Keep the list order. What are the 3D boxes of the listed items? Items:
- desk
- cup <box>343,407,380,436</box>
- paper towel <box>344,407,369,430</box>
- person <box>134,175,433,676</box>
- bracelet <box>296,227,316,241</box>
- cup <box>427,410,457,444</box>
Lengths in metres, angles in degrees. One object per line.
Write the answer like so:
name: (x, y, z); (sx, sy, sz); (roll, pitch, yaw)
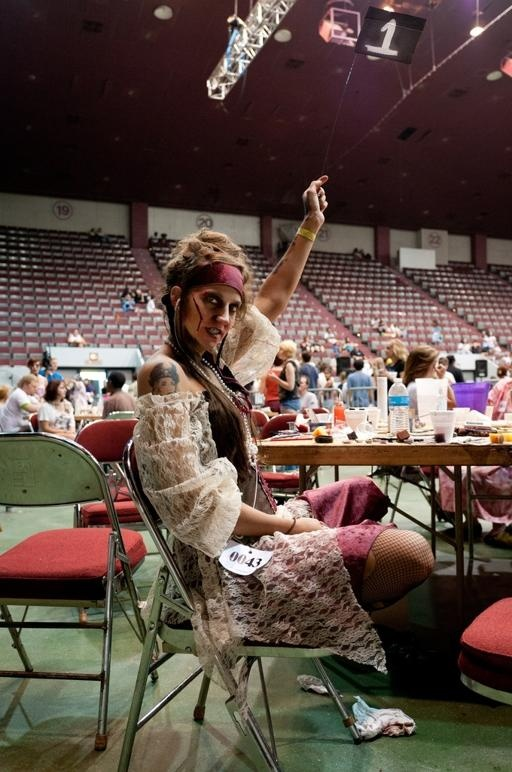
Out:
desk: (0.472, 0.628, 1.982); (0.776, 0.941, 1.010); (0, 1, 14)
cup: (0.385, 0.121, 2.040); (0.140, 0.100, 0.093); (-2, -2, 9)
paper towel: (0.360, 0.115, 2.007); (0.083, 0.097, 0.071); (0, -7, 2)
person: (0.057, 0.061, 1.065); (0.575, 0.908, 0.486); (-10, 15, -35)
bracelet: (0.127, -0.378, 1.399); (0.040, 0.019, 0.040); (32, 2, 24)
cup: (0.535, 0.113, 1.592); (0.082, 0.090, 0.085); (1, -13, 0)
